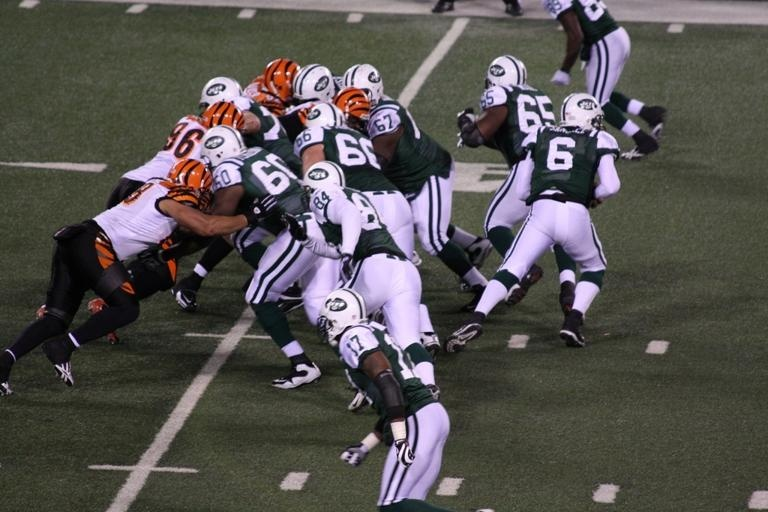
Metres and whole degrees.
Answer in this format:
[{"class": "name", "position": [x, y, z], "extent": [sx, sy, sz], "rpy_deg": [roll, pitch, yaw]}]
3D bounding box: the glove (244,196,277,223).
[{"class": "glove", "position": [-0.930, -0.349, 7.397], "extent": [0.238, 0.223, 0.118], "rpy_deg": [-4, 18, -6]}]

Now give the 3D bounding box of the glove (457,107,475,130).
[{"class": "glove", "position": [0.741, -1.245, 8.936], "extent": [0.123, 0.118, 0.314], "rpy_deg": [-6, 19, 11]}]

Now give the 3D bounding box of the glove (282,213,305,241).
[{"class": "glove", "position": [-0.656, -0.210, 7.265], "extent": [0.095, 0.223, 0.124], "rpy_deg": [-38, 0, 1]}]

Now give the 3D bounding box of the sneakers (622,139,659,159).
[{"class": "sneakers", "position": [2.790, -1.172, 10.709], "extent": [0.265, 0.090, 0.245], "rpy_deg": [1, 44, 33]}]

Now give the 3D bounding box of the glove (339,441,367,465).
[{"class": "glove", "position": [-0.182, 1.205, 5.928], "extent": [0.126, 0.068, 0.159], "rpy_deg": [29, 26, 10]}]

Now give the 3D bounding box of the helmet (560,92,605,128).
[{"class": "helmet", "position": [1.672, -1.200, 8.192], "extent": [0.373, 0.271, 0.265], "rpy_deg": [-10, 26, -5]}]

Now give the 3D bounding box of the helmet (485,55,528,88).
[{"class": "helmet", "position": [1.097, -1.691, 9.028], "extent": [0.380, 0.281, 0.283], "rpy_deg": [16, 13, 32]}]

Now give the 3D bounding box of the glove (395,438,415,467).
[{"class": "glove", "position": [0.121, 1.152, 5.735], "extent": [0.109, 0.148, 0.066], "rpy_deg": [-7, -5, -8]}]

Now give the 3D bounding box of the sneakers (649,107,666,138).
[{"class": "sneakers", "position": [3.007, -1.430, 10.846], "extent": [0.186, 0.396, 0.256], "rpy_deg": [9, 38, 15]}]

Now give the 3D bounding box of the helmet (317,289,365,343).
[{"class": "helmet", "position": [-0.271, 0.371, 6.304], "extent": [0.362, 0.310, 0.282], "rpy_deg": [1, 2, 11]}]
